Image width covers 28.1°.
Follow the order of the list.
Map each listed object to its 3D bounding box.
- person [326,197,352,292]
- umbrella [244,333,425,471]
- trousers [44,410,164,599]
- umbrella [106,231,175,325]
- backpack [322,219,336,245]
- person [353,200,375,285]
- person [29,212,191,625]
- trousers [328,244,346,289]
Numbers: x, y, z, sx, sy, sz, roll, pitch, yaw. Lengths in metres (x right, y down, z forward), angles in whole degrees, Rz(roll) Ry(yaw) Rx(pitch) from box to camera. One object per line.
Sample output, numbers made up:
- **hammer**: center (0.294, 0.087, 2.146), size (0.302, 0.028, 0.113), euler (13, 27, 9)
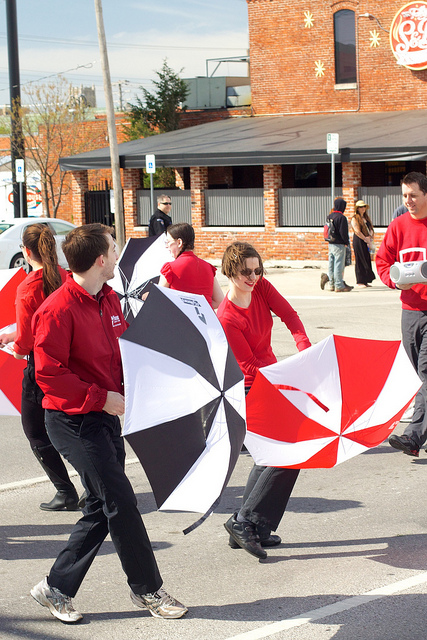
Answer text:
- **person**: center (2.521, -1.534, 17.280), size (0.457, 1.905, 0.877), euler (-2, 4, 7)
- **umbrella**: center (0.642, 0.415, 4.590), size (1.168, 0.680, 0.306), euler (-5, 5, -40)
- **trousers**: center (-0.499, 0.836, 3.746), size (0.486, 0.902, 0.385), euler (-3, 4, -12)
- **umbrella**: center (-0.688, -0.387, 7.964), size (0.302, 0.827, 0.863), euler (1, 0, -26)
- **backpack**: center (2.294, -1.769, 17.016), size (0.235, 0.491, 0.332), euler (-3, 4, -9)
- **person**: center (3.043, -1.559, 17.362), size (0.376, 1.679, 0.953), euler (-1, 4, 10)
- **person**: center (-0.508, 0.434, 3.820), size (0.652, 1.734, 0.790), euler (-3, 4, -13)
- **trousers**: center (2.484, -1.079, 17.130), size (0.307, 0.894, 0.504), euler (-1, 4, 8)
